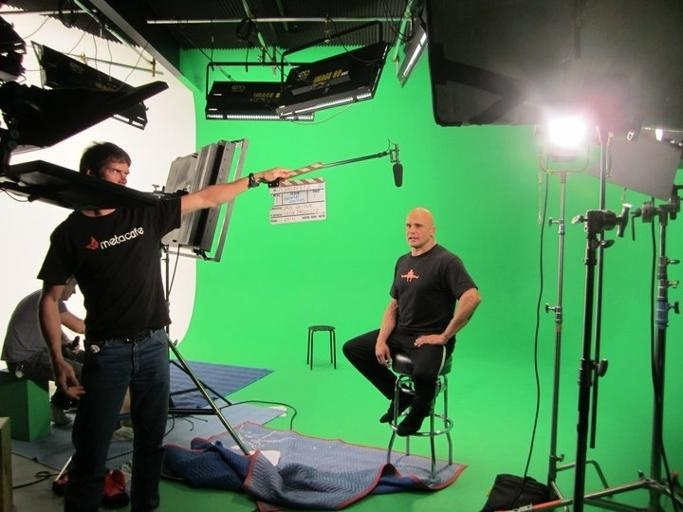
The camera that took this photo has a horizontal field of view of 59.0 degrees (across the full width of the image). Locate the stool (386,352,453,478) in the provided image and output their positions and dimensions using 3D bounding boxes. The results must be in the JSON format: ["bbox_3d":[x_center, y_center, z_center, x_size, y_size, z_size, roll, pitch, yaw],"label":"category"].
[{"bbox_3d":[0.577,1.134,4.490,0.518,0.876,0.485,-1,-1,35],"label":"stool"}]

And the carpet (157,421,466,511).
[{"bbox_3d":[-0.320,1.494,4.205,1.430,0.218,0.838,-2,-3,24],"label":"carpet"}]

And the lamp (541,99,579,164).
[{"bbox_3d":[1.275,-0.722,3.507,0.196,0.199,0.363,3,4,17],"label":"lamp"}]

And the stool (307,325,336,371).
[{"bbox_3d":[-0.220,1.026,6.703,0.357,0.465,0.379,0,0,6],"label":"stool"}]

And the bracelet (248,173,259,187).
[{"bbox_3d":[-0.555,-0.474,3.772,0.054,0.085,0.088,-5,2,-36],"label":"bracelet"}]
